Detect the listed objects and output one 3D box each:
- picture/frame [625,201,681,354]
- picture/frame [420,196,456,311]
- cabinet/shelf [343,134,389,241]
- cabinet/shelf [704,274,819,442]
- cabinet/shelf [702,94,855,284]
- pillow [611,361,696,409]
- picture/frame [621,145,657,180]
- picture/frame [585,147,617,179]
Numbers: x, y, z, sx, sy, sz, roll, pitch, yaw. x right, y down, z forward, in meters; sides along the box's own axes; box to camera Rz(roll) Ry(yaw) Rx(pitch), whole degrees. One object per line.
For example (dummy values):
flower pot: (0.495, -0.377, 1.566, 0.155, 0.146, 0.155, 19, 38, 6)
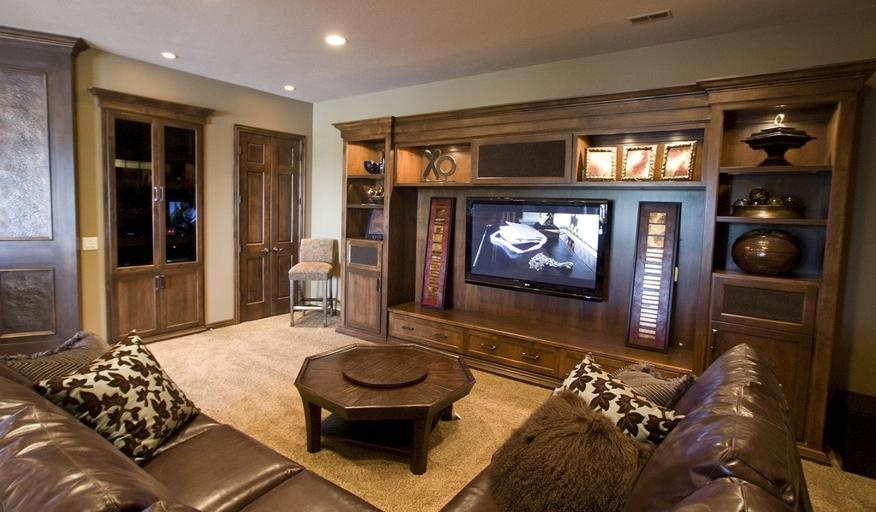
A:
picture/frame: (2.199, 0.207, 5.453, 0.416, 1.506, 0.289, 4, 11, 21)
picture/frame: (-0.054, -0.025, 6.627, 0.435, 1.372, 0.140, 7, -2, -37)
cabinet/shelf: (-0.917, -0.861, 6.977, 0.597, 1.290, 0.487, -7, 12, -38)
cabinet/shelf: (3.039, 0.869, 5.097, 0.909, 1.370, 0.551, 5, 13, 26)
cabinet/shelf: (3.181, -0.600, 4.944, 1.066, 1.565, 0.629, 6, 12, 33)
pillow: (1.574, 0.945, 3.961, 0.370, 0.104, 0.355, -12, 18, -37)
picture/frame: (2.059, -0.945, 5.431, 0.403, 0.415, 0.067, 5, 2, 28)
picture/frame: (1.712, -0.967, 5.581, 0.384, 0.370, 0.058, 4, 2, 27)
